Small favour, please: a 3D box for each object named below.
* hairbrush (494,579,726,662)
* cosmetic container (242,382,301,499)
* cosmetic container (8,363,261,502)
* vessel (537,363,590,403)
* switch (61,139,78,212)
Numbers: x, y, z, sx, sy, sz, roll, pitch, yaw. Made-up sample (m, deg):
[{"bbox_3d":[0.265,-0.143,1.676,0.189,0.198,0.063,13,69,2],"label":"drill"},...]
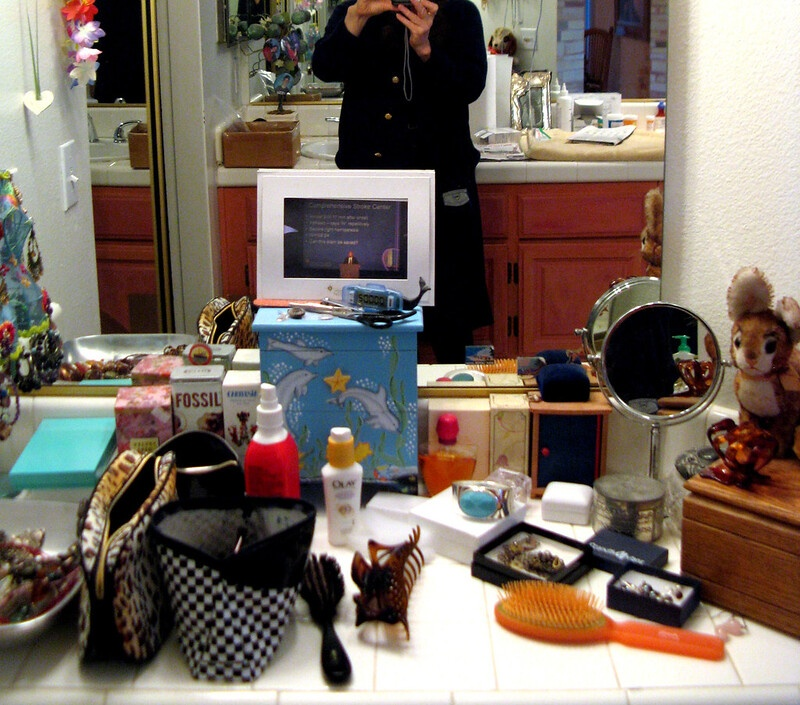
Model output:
[{"bbox_3d":[0.203,0.273,0.778,0.258,0.064,0.083,5,17,26],"label":"hairbrush"},{"bbox_3d":[-0.152,0.118,0.867,0.066,0.152,0.176,-4,15,-9],"label":"cosmetic container"},{"bbox_3d":[-0.371,0.033,1.135,0.344,0.167,0.264,1,27,3],"label":"cosmetic container"},{"bbox_3d":[0.226,0.044,1.005,0.050,0.031,0.054,-1,24,4],"label":"vessel"},{"bbox_3d":[-0.454,-0.244,1.016,0.030,0.093,0.009,3,14,17],"label":"switch"}]
